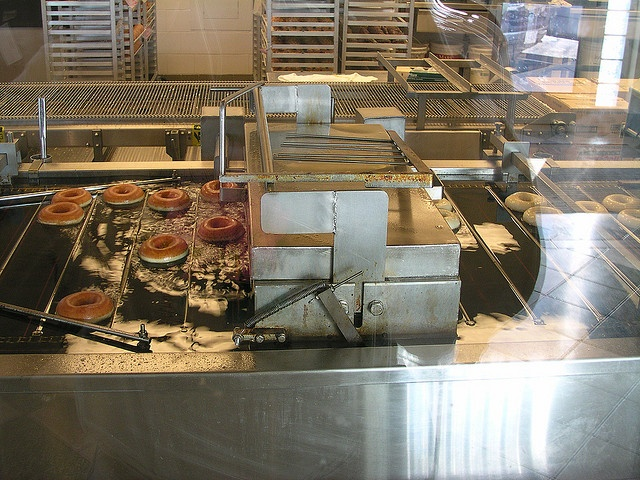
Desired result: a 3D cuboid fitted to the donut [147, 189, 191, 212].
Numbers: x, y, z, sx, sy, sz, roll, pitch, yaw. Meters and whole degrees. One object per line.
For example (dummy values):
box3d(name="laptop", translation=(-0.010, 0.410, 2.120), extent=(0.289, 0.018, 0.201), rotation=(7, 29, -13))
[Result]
box3d(name="donut", translation=(-0.677, -0.175, 2.203), extent=(0.161, 0.089, 0.134), rotation=(6, 15, 27))

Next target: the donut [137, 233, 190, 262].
box3d(name="donut", translation=(-0.593, 0.038, 1.862), extent=(0.151, 0.084, 0.148), rotation=(11, 17, 41))

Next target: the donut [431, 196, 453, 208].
box3d(name="donut", translation=(0.539, -0.160, 2.171), extent=(0.082, 0.020, 0.087), rotation=(3, 18, 9))

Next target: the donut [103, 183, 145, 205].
box3d(name="donut", translation=(-0.899, -0.207, 2.246), extent=(0.151, 0.087, 0.156), rotation=(9, 16, 35))

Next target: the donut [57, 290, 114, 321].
box3d(name="donut", translation=(-0.760, 0.224, 1.599), extent=(0.163, 0.057, 0.160), rotation=(6, 22, 5))

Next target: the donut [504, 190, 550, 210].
box3d(name="donut", translation=(0.909, -0.174, 2.188), extent=(0.108, 0.035, 0.103), rotation=(-6, 15, -17))

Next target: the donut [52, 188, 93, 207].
box3d(name="donut", translation=(-1.092, -0.192, 2.178), extent=(0.106, 0.041, 0.102), rotation=(3, 15, 8))

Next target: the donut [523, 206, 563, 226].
box3d(name="donut", translation=(0.859, -0.105, 1.947), extent=(0.097, 0.028, 0.094), rotation=(-2, 19, -2))

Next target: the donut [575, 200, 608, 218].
box3d(name="donut", translation=(0.784, -0.095, 1.423), extent=(0.027, 0.038, 0.093), rotation=(-7, 14, -23))

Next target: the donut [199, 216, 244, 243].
box3d(name="donut", translation=(-0.403, -0.039, 1.998), extent=(0.163, 0.087, 0.150), rotation=(11, 17, 41))

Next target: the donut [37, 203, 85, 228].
box3d(name="donut", translation=(-1.096, -0.107, 2.065), extent=(0.184, 0.086, 0.106), rotation=(-3, 13, -12))
